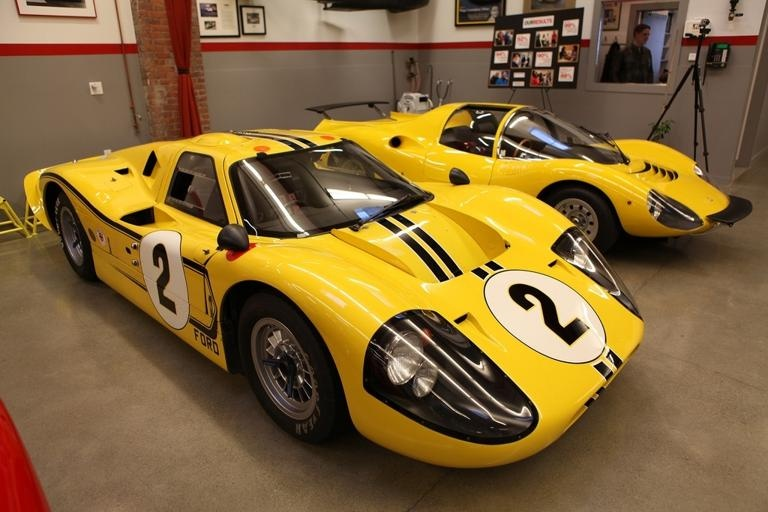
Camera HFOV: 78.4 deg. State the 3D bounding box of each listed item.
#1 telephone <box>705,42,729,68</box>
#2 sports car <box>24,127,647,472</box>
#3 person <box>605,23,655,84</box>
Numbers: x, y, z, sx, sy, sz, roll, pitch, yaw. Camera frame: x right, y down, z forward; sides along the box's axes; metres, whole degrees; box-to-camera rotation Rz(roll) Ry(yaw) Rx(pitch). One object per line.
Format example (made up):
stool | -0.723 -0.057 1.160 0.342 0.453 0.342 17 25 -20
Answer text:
telephone | 4.682 -2.846 6.655 0.257 0.367 0.329 2 12 20
sports car | -0.599 0.388 3.422 3.901 0.975 1.817 26 40 29
person | 4.174 -3.412 7.930 0.763 0.893 0.620 -12 28 -29
